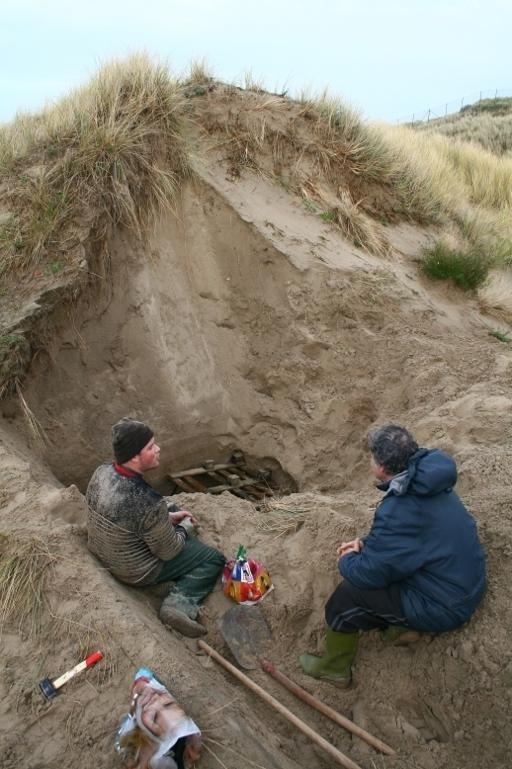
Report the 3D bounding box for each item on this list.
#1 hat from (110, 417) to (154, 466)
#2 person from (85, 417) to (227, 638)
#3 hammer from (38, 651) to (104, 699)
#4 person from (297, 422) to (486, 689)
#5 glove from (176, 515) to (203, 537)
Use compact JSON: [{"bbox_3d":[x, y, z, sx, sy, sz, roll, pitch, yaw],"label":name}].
[{"bbox_3d":[-0.657,0.303,3.637,0.191,0.221,0.158,3,18,15],"label":"hat"},{"bbox_3d":[-0.554,0.725,3.804,0.692,1.130,0.592,3,18,14],"label":"person"},{"bbox_3d":[-0.848,1.330,3.233,0.365,0.092,0.116,-28,63,-20],"label":"hammer"},{"bbox_3d":[0.676,0.892,3.336,0.811,1.347,0.385,5,19,19],"label":"person"},{"bbox_3d":[-0.404,0.849,4.157,0.090,0.090,0.170,15,-15,18],"label":"glove"}]
